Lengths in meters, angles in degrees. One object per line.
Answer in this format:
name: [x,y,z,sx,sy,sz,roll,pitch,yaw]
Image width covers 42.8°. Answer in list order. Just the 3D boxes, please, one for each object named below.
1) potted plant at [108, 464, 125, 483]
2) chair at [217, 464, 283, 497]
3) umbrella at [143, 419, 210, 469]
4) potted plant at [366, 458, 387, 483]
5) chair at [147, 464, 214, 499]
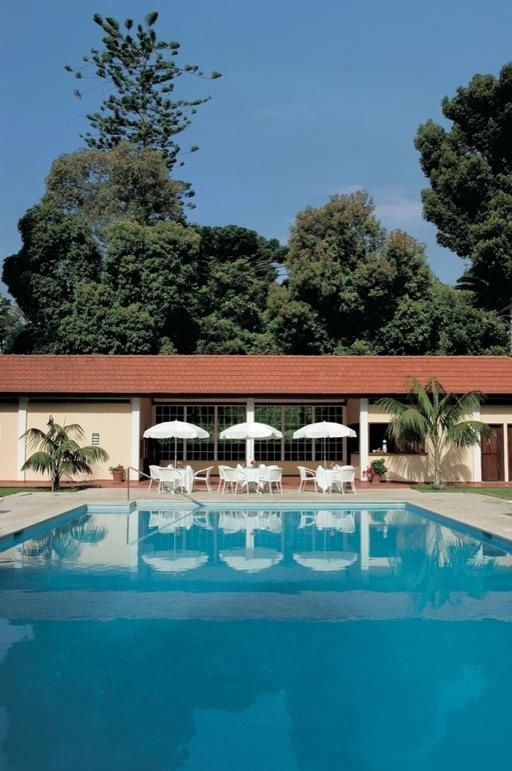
potted plant: [-4.173,2.687,19.727,0.470,0.519,0.346,1,-2,-12]
chair: [-0.162,2.554,17.746,1.462,0.647,1.006,-1,-4,-2]
umbrella: [-2.275,1.229,18.188,1.640,1.676,1.792,3,-1,17]
potted plant: [3.662,2.590,19.934,0.629,0.728,0.623,1,-4,-1]
chair: [-2.122,2.563,17.702,1.084,0.760,1.515,-1,-2,18]
